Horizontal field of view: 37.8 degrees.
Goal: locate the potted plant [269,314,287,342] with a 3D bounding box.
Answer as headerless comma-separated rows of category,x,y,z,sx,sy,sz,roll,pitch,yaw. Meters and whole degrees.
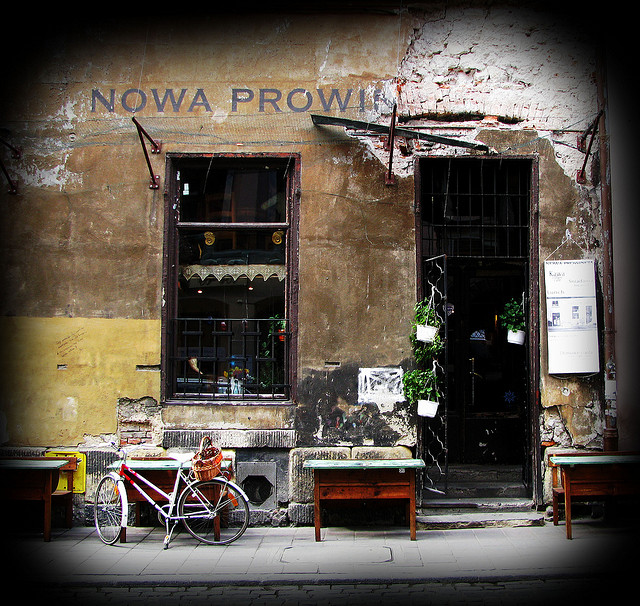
potted plant,-0.513,0.299,11.255,0.224,0.338,0.241,0,-9,-5

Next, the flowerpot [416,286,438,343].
flowerpot,1.250,0.133,11.044,0.233,0.679,0.308,1,-5,7

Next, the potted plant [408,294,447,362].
potted plant,1.257,0.288,11.063,0.457,0.816,0.458,1,-5,8

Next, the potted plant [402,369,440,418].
potted plant,1.205,1.036,11.071,0.441,0.669,0.561,2,-4,-20

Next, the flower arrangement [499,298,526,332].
flower arrangement,2.376,0.163,11.586,0.339,0.398,0.136,-2,-6,35

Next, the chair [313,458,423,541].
chair,0.528,2.313,10.776,1.240,0.895,1.305,1,-10,0

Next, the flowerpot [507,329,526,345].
flowerpot,2.401,0.424,11.516,0.192,0.180,0.198,1,-5,4

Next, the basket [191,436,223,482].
basket,-1.273,1.729,10.471,0.307,0.469,0.477,-5,7,12

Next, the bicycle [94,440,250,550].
bicycle,-1.713,2.202,10.861,1.817,1.338,0.896,2,-3,7

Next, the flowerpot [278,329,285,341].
flowerpot,-0.461,0.384,11.230,0.098,0.217,0.106,0,-5,2

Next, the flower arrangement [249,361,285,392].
flower arrangement,-0.614,0.894,11.357,0.321,0.380,0.137,12,4,-1

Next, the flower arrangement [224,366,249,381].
flower arrangement,-1.004,0.858,11.251,0.132,0.110,0.221,-1,1,18

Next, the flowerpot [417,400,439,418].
flowerpot,1.217,1.225,10.778,0.229,0.200,0.166,7,-11,0

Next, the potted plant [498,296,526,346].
potted plant,2.380,0.235,11.536,0.398,0.690,0.457,-3,-10,34
